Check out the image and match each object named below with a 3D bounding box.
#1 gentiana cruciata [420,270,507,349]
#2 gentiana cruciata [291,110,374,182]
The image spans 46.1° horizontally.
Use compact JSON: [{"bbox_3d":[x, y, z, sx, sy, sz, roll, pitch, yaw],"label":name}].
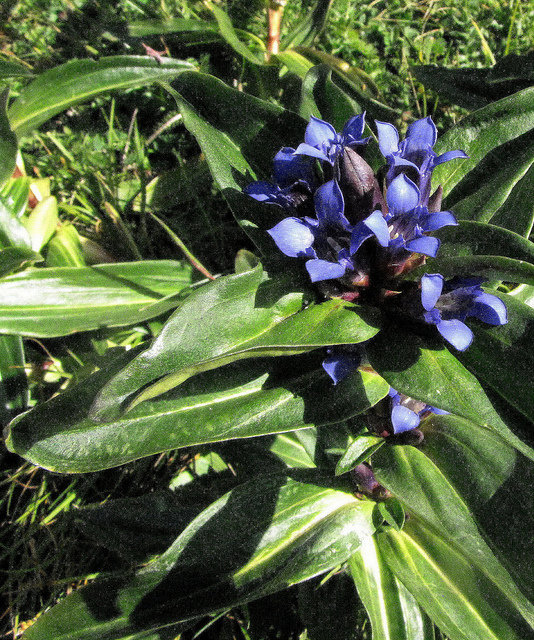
[{"bbox_3d":[0.344,-0.021,1.071,0.129,0.102,0.173,26,25,36],"label":"gentiana cruciata"},{"bbox_3d":[0.117,-0.319,1.128,0.125,0.116,0.125,10,20,-1],"label":"gentiana cruciata"}]
